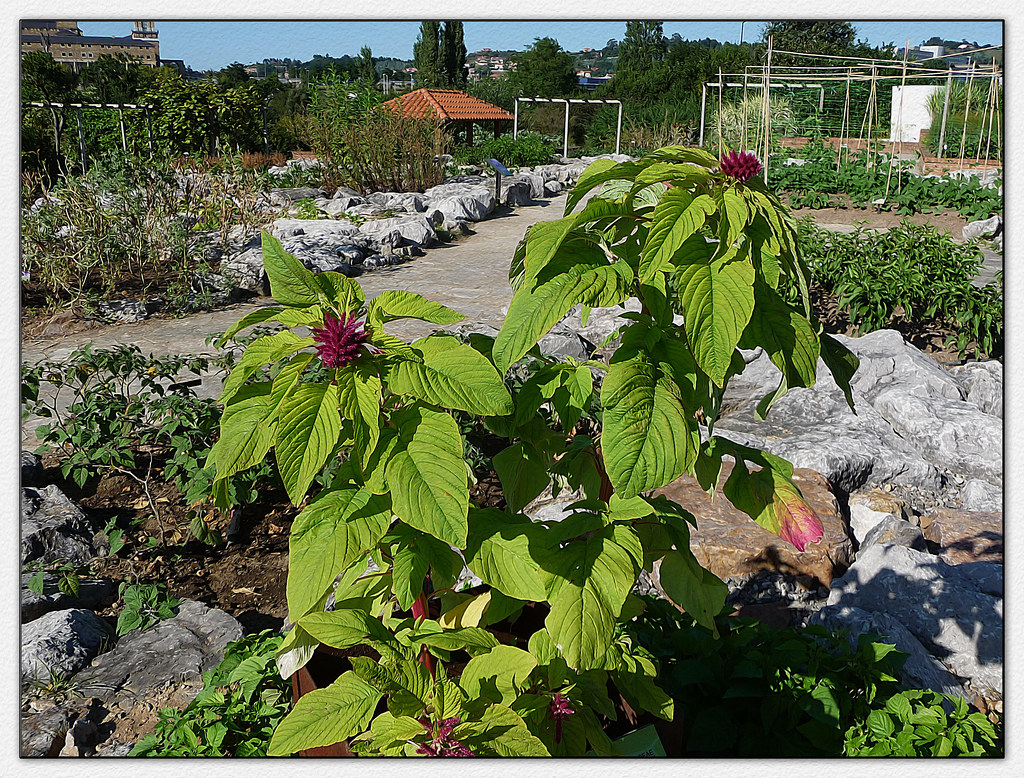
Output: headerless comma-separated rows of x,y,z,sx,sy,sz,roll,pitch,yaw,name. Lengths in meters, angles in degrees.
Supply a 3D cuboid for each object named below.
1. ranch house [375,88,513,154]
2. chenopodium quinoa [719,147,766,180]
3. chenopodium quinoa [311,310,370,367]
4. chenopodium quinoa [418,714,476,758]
-2.279,-10.330,24.182,2.015,2.091,4.398,9,18,33,ranch house
0.585,-0.565,1.639,0.090,0.056,0.101,34,59,26,chenopodium quinoa
-0.404,-0.117,1.531,0.122,0.122,0.092,-6,16,-18,chenopodium quinoa
-0.157,0.822,1.554,0.106,0.093,0.053,18,11,1,chenopodium quinoa
